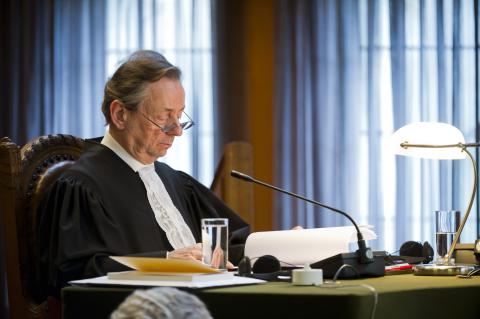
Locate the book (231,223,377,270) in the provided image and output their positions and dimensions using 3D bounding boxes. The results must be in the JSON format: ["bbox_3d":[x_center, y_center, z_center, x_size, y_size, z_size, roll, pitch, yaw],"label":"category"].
[{"bbox_3d":[0.372,0.499,3.798,0.484,0.147,0.366,-8,-5,35],"label":"book"}]
